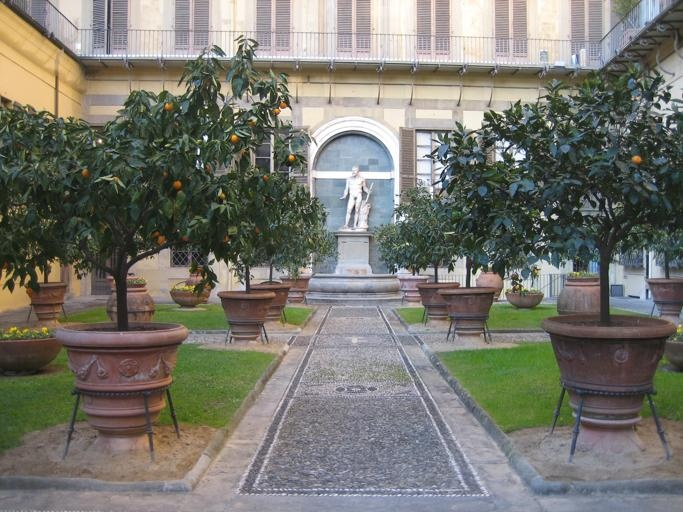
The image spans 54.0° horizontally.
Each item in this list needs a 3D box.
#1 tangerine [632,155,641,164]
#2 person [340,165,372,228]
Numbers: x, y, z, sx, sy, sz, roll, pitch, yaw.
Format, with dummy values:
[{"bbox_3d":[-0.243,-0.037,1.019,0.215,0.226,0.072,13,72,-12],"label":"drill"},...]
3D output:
[{"bbox_3d":[2.893,-0.944,6.593,0.067,0.081,0.097,-1,3,-1],"label":"tangerine"},{"bbox_3d":[0.665,-2.638,30.262,1.120,3.200,1.004,0,5,-13],"label":"person"}]
